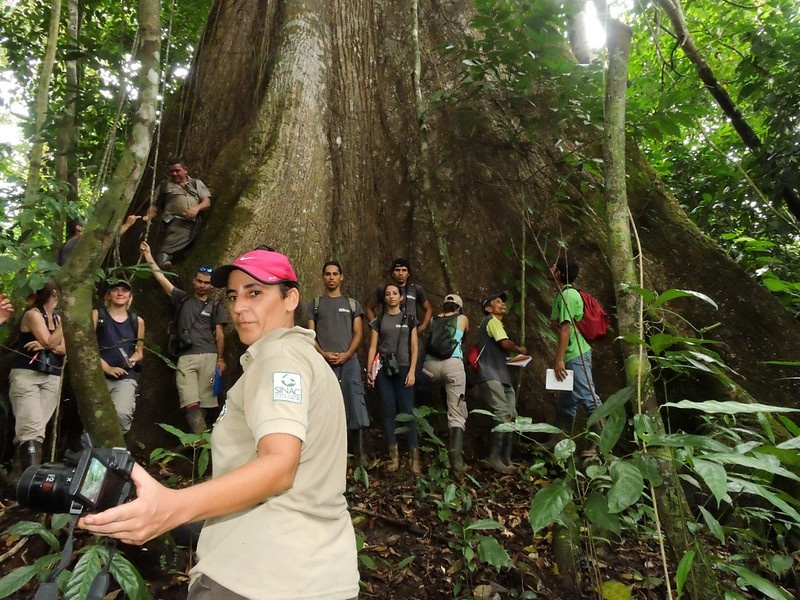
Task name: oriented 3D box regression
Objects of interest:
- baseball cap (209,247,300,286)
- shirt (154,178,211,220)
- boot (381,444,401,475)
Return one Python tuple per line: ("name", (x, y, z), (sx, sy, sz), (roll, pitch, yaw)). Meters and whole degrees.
("baseball cap", (-0.736, -0.109, 2.733), (0.346, 0.196, 0.250), (25, -26, -37))
("shirt", (-2.723, -1.250, 6.368), (0.508, 0.486, 0.280), (5, -19, -20))
("boot", (-0.088, 1.768, 5.646), (0.148, 0.293, 0.198), (-8, -15, 23))
